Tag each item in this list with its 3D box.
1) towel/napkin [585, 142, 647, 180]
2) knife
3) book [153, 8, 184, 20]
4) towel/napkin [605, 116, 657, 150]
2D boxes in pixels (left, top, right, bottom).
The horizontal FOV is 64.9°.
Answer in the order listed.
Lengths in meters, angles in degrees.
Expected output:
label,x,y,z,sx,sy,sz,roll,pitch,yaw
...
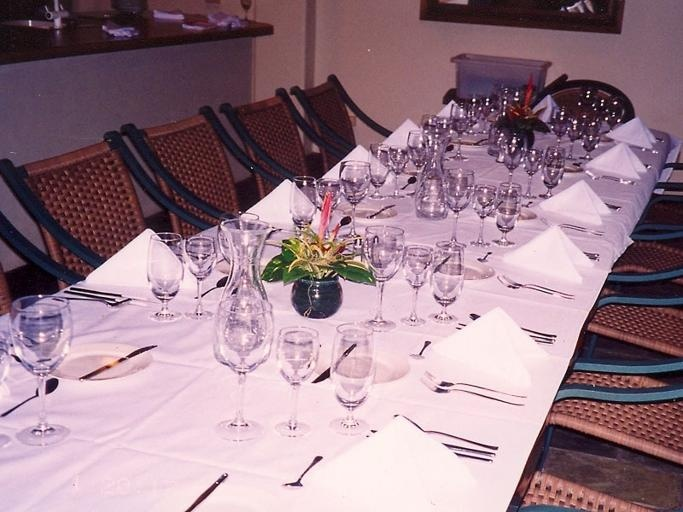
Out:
label,x,y,z,sx,sy,sz,roll,pitch,yaw
towel/napkin,1.564,-0.522,3.053,0.220,0.125,0.300,11,34,21
knife,0.156,0.341,0.962,0.177,0.011,0.056,12,30,15
book,-1.601,-2.217,4.939,0.242,0.086,0.191,4,21,8
towel/napkin,1.977,-0.834,3.656,0.326,0.120,0.256,19,40,32
